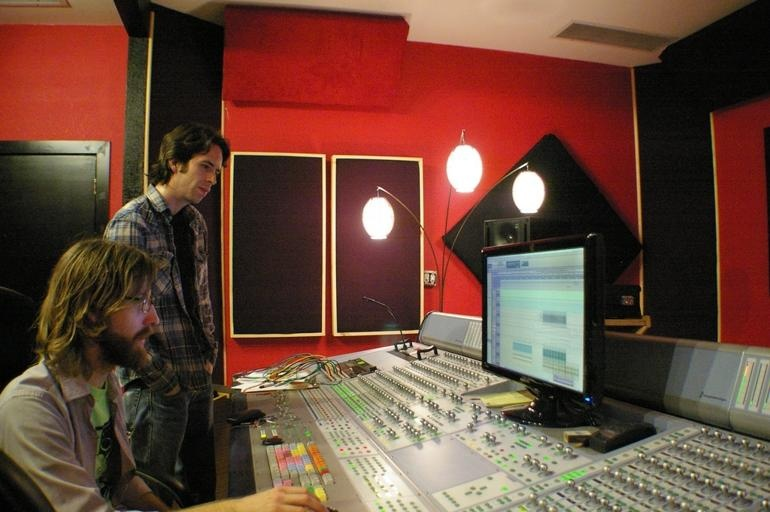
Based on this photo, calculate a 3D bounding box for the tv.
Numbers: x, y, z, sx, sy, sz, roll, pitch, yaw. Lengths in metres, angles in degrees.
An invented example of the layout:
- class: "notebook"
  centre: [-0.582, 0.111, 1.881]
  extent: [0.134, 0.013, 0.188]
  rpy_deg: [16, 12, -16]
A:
- class: "tv"
  centre: [0.755, 0.286, 2.833]
  extent: [0.160, 0.814, 0.676]
  rpy_deg: [0, 4, -37]

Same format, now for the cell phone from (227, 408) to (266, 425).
- class: "cell phone"
  centre: [-0.711, 0.829, 2.924]
  extent: [0.120, 0.037, 0.091]
  rpy_deg: [-4, -5, -20]

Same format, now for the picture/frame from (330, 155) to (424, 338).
- class: "picture/frame"
  centre: [-0.039, -0.130, 5.444]
  extent: [1.009, 1.802, 0.183]
  rpy_deg: [5, -14, -25]
